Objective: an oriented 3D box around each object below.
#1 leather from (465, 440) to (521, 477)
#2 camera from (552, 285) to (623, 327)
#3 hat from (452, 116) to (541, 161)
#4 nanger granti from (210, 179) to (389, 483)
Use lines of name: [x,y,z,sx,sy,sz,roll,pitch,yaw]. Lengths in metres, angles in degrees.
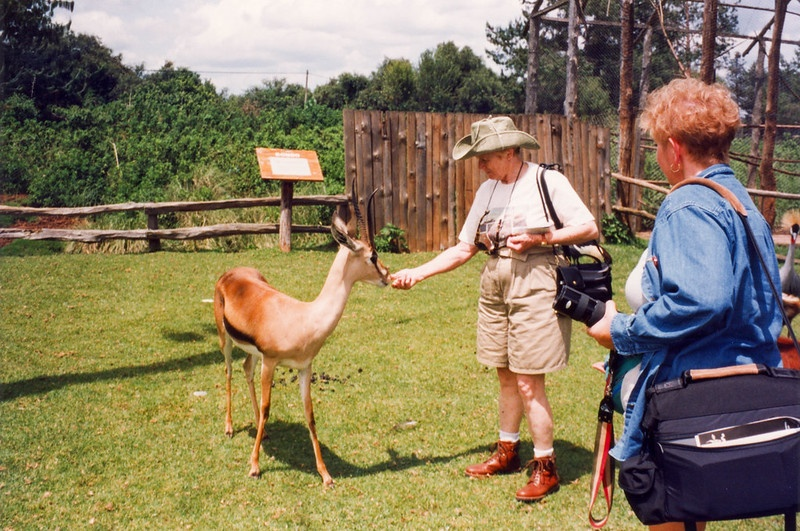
leather: [1.012,2.249,8.657,0.712,0.503,0.304,1,-3,0]
camera: [1.685,0.370,6.974,0.476,0.322,0.220,21,24,4]
hat: [1.019,-1.453,8.500,0.710,0.592,1.333,0,-3,-3]
nanger granti: [-1.348,0.729,9.325,2.066,3.485,3.481,1,-4,-11]
